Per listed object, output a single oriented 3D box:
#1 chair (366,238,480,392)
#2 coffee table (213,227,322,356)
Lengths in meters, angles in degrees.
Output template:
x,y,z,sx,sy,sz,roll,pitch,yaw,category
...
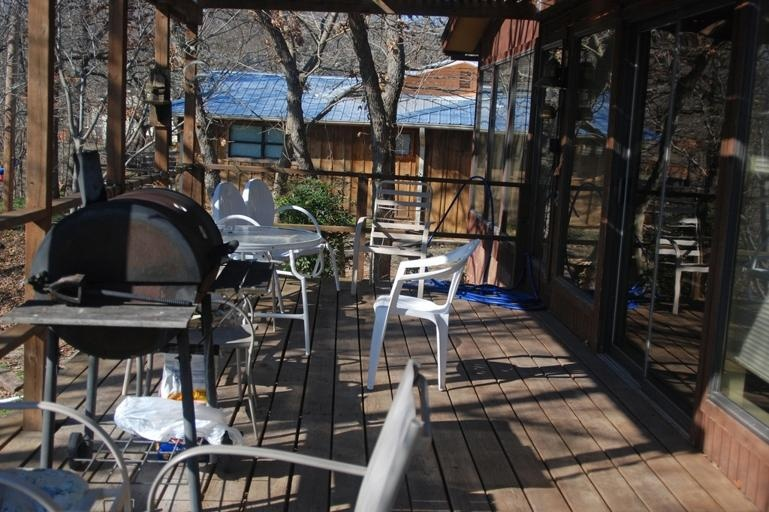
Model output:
x,y,z,sx,sy,sz,roll,pitch,yaw,category
0.259,0.338,4.683,1.011,1.340,0.898,3,6,2,chair
-0.818,-0.023,5.149,0.741,1.201,0.829,3,13,18,coffee table
